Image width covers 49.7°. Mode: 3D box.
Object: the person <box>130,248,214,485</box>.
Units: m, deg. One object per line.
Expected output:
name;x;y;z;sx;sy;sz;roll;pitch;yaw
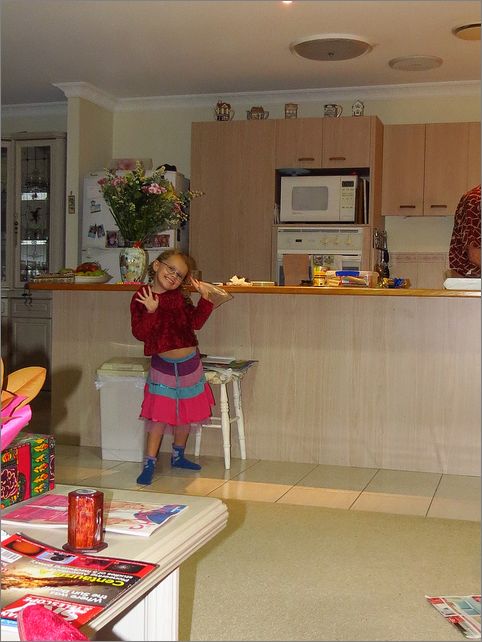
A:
person;-0.362;0.230;2.723;0.441;0.902;0.318;2;-1;-17

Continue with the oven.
oven;0.820;-0.433;5.204;1.034;0.931;0.597;1;1;13

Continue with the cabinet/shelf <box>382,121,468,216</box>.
cabinet/shelf;1.898;-1.513;5.107;0.473;0.857;0.876;-24;27;-40

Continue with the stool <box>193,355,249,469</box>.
stool;-0.075;0.522;2.921;0.356;0.395;0.307;-3;-5;-44

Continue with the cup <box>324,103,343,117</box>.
cup;0.881;-2.036;5.033;0.190;0.163;0.148;2;13;8

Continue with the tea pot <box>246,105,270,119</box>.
tea pot;0.164;-2.063;5.192;0.168;0.106;0.168;0;16;0

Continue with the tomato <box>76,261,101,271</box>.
tomato;-1.009;-0.377;3.493;0.138;0.072;0.132;-1;0;12
